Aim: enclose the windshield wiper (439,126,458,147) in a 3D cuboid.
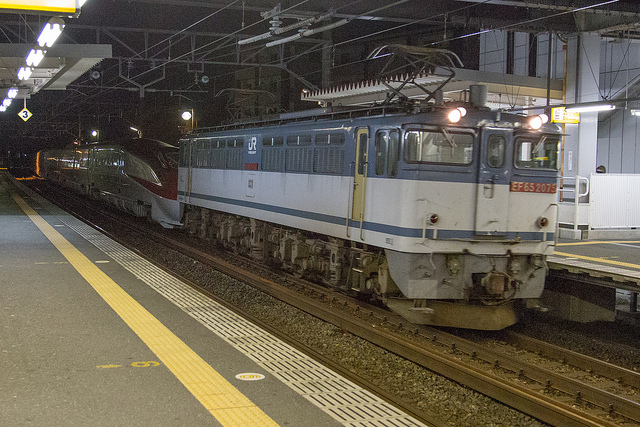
[{"bbox_3d":[2.763,-1.675,10.574,0.070,0.509,0.087,-47,10,-34],"label":"windshield wiper"}]
